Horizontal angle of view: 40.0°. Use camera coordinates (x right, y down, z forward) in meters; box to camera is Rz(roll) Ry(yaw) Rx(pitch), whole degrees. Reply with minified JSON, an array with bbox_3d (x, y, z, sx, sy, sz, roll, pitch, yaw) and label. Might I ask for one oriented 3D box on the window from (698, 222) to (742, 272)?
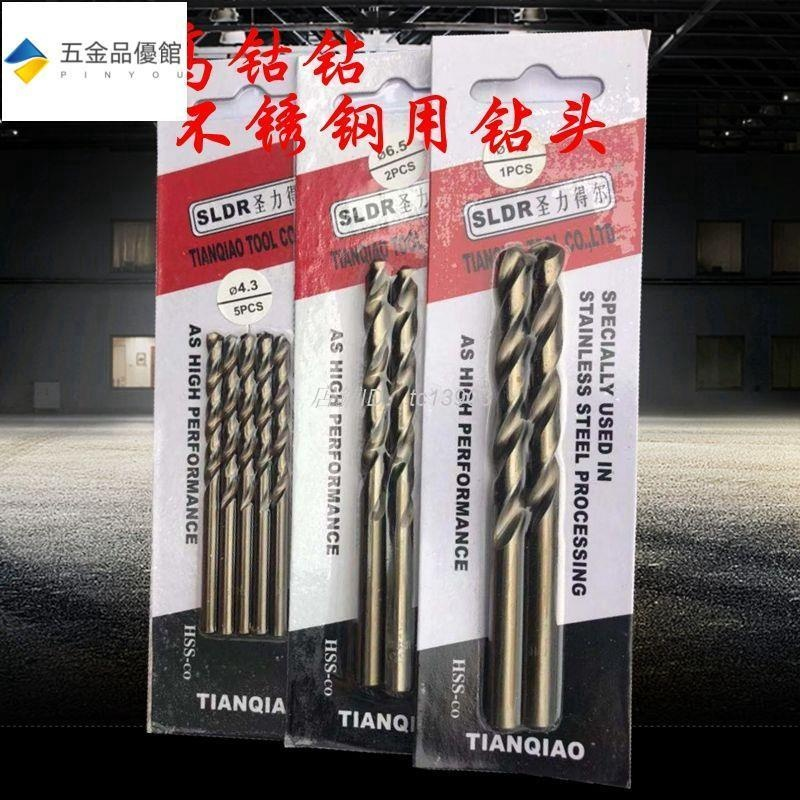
[{"bbox_3d":[4.860,-2.316,16.518,0.696,0.073,0.909,5,-48,23],"label":"window"}]
